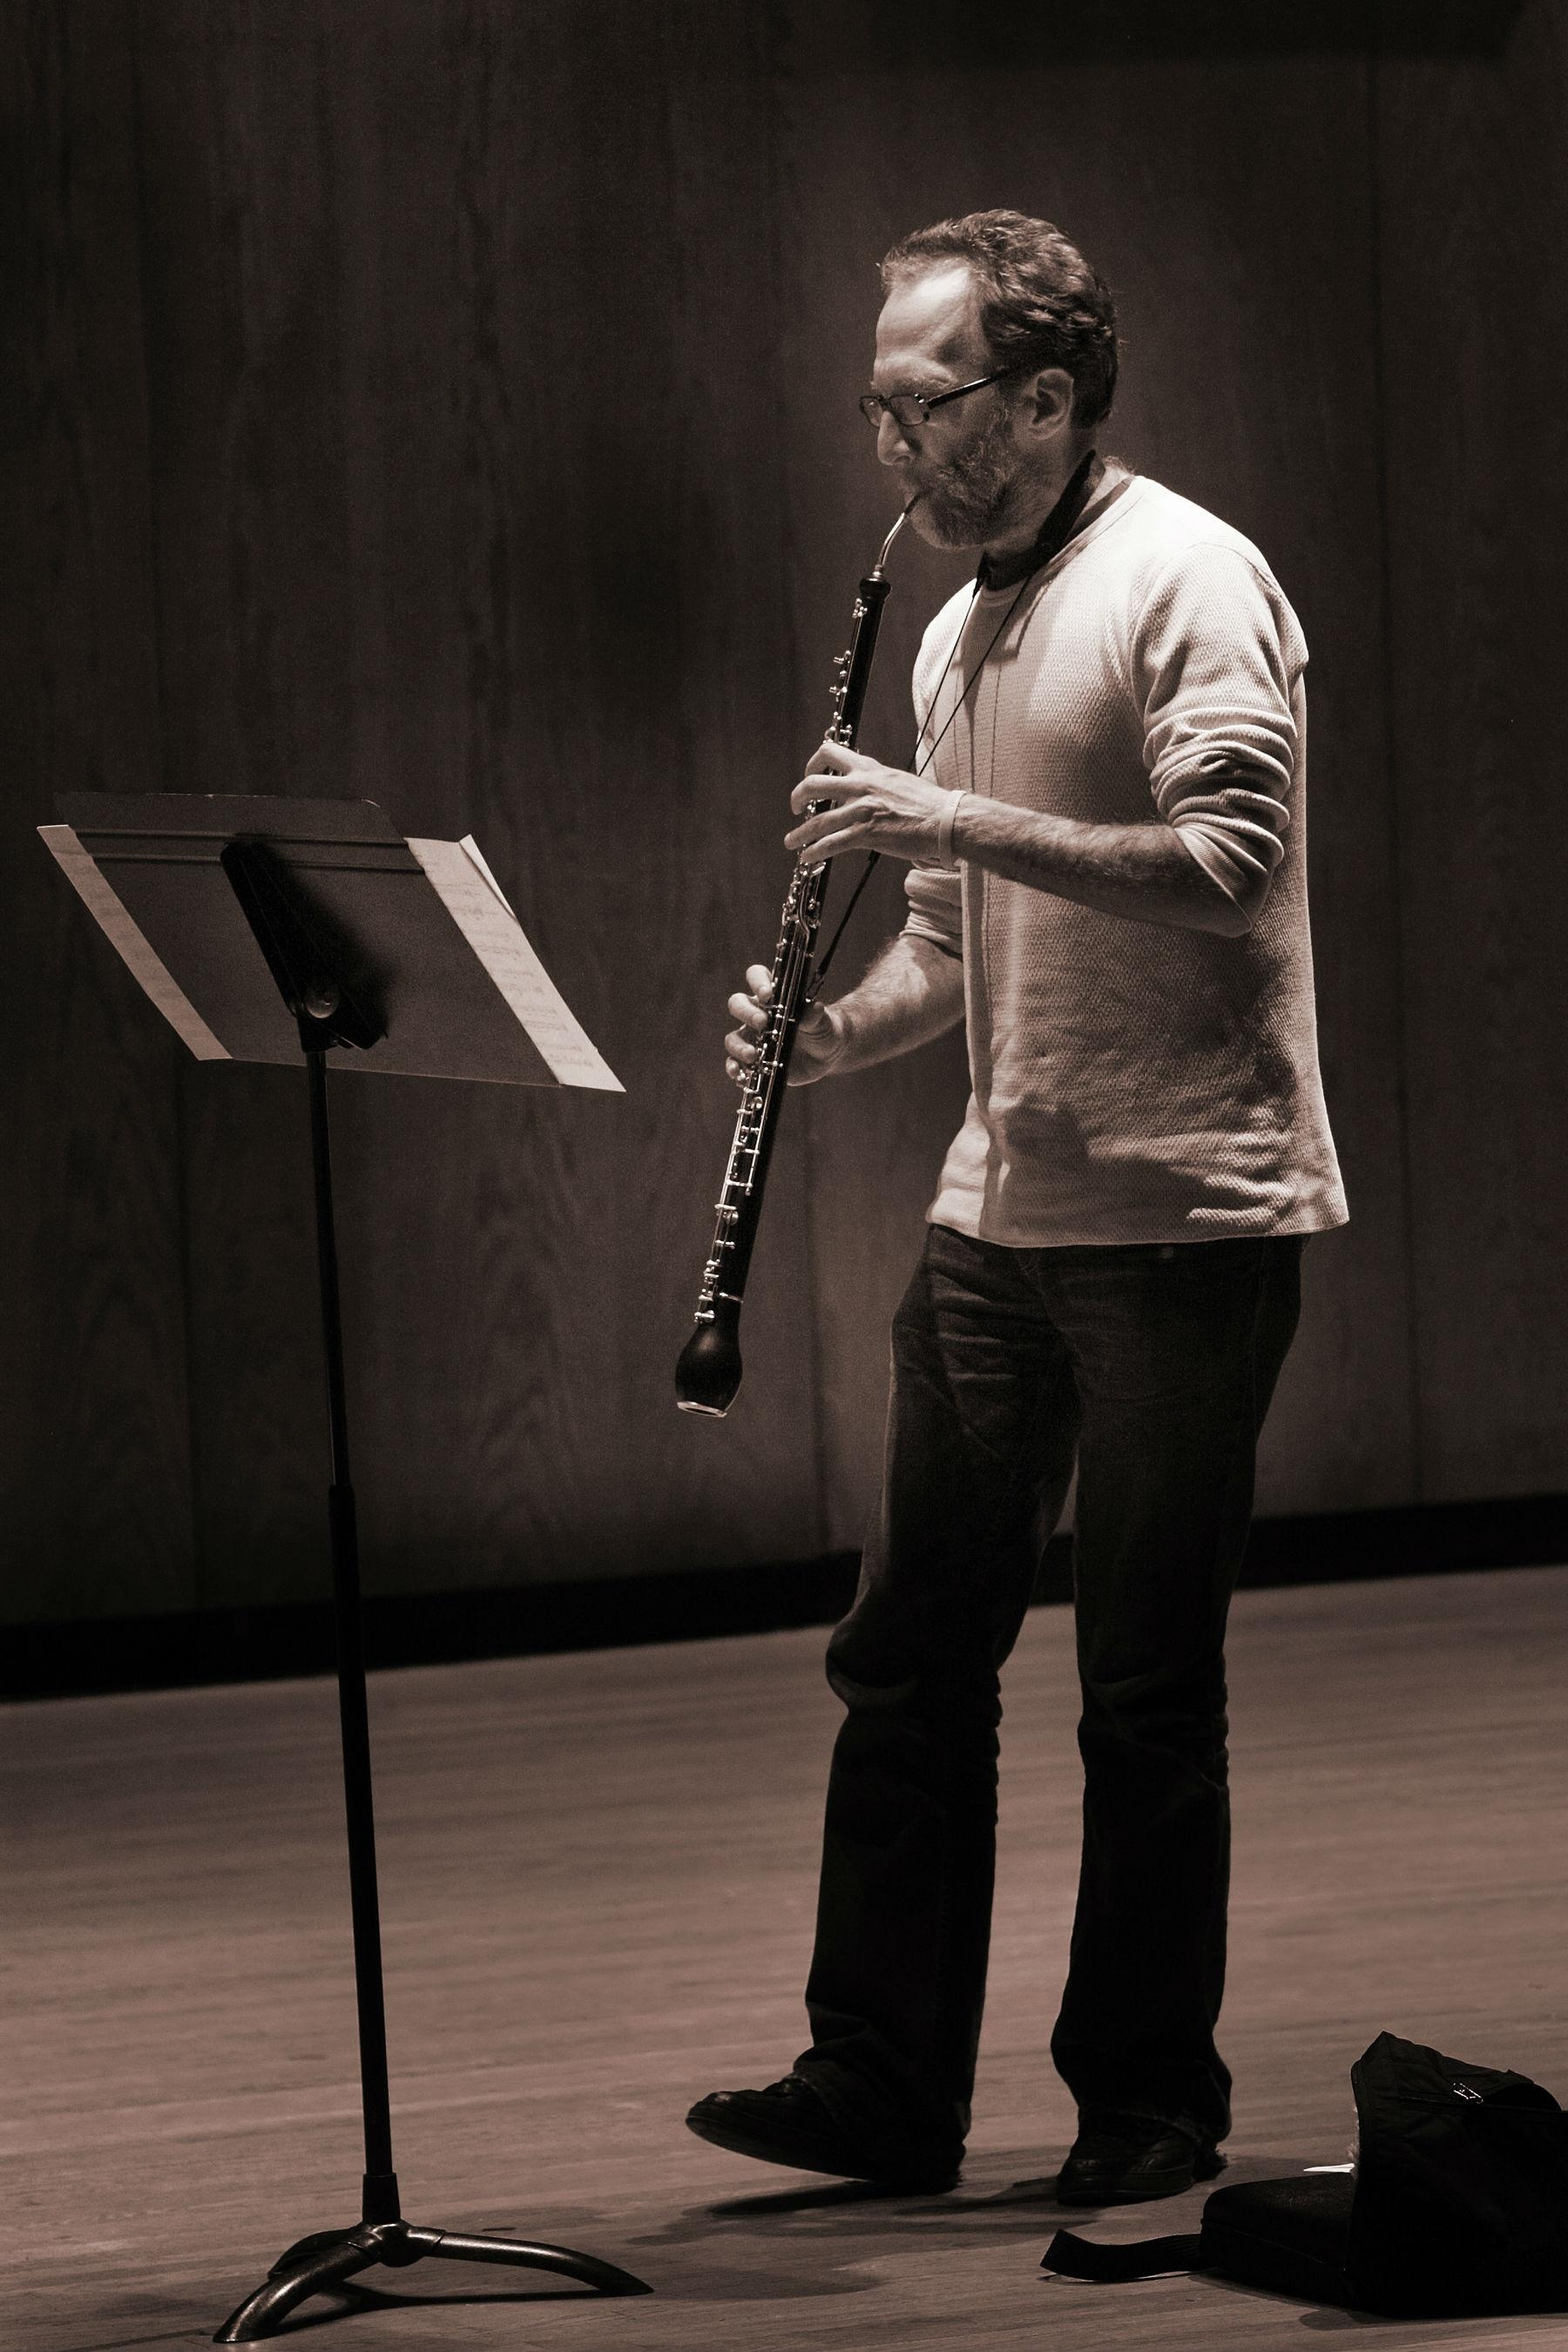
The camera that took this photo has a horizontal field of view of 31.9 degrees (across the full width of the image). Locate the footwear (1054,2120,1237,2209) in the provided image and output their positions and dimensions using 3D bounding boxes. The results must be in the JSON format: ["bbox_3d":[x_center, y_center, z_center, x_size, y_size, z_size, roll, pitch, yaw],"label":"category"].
[{"bbox_3d":[0.260,0.719,2.020,0.131,0.051,0.048,-4,-5,-13],"label":"footwear"}]

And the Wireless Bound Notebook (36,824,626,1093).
[{"bbox_3d":[-0.335,-0.133,1.805,0.347,0.204,0.197,-4,20,-45],"label":"Wireless Bound Notebook"}]

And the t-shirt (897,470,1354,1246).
[{"bbox_3d":[0.281,-0.238,2.091,0.281,0.535,0.410,2,-1,-23],"label":"t-shirt"}]

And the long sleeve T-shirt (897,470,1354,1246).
[{"bbox_3d":[0.281,-0.238,2.091,0.281,0.535,0.410,2,-1,-23],"label":"long sleeve T-shirt"}]
